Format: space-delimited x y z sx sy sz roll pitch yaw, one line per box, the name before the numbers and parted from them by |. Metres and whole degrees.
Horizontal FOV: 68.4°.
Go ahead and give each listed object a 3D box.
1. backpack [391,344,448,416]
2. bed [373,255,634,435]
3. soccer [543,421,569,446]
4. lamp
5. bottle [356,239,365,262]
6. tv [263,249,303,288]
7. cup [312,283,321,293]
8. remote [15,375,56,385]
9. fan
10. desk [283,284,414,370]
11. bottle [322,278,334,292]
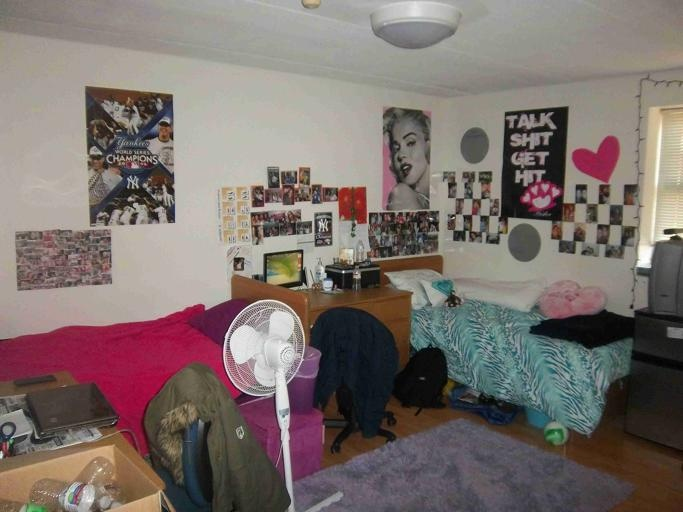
backpack | 0.657 1.118 4.546 0.525 0.558 0.393 -3 2 -19
bed | 1.460 0.745 4.381 0.845 0.475 1.443 -9 15 -38
soccer | 1.678 1.382 3.898 0.152 0.175 0.115 5 6 16
lamp | 0.483 -1.505 3.245 0.594 0.212 0.401 1 14 4
bottle | 0.206 -0.062 5.348 0.122 0.208 0.105 -3 14 -12
tv | -0.581 0.112 4.815 0.345 0.323 0.059 1 -1 -43
cup | -0.249 0.309 4.961 0.070 0.058 0.072 2 3 0
remote | -1.655 0.673 2.709 0.102 0.022 0.073 0 6 -31
fan | -0.383 0.951 2.945 0.487 1.465 0.511 4 14 15
desk | 0.134 0.845 4.816 1.195 0.928 0.687 -6 14 -32
bottle | -0.136 0.281 4.866 0.107 0.118 0.104 -3 11 -18
